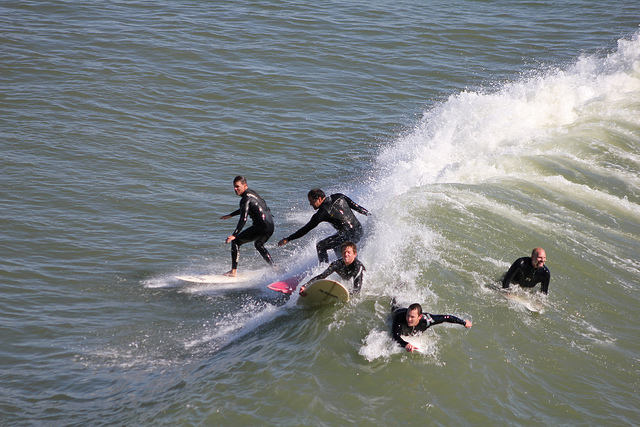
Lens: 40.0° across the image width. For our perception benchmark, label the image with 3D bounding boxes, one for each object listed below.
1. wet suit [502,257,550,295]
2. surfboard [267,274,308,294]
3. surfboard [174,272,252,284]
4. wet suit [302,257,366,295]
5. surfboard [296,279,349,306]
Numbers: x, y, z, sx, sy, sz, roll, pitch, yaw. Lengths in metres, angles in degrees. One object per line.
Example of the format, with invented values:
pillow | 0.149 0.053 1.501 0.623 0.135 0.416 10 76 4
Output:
wet suit | 6.392 1.924 26.467 1.460 1.069 0.700 18 21 7
surfboard | -1.049 2.239 27.607 1.589 0.215 0.356 -17 57 -44
surfboard | -3.471 2.097 28.504 1.995 0.181 0.368 0 17 -18
wet suit | 0.454 1.792 26.026 1.696 0.599 2.029 -1 12 13
surfboard | 0.194 2.346 26.190 0.946 1.223 0.234 28 44 -19
